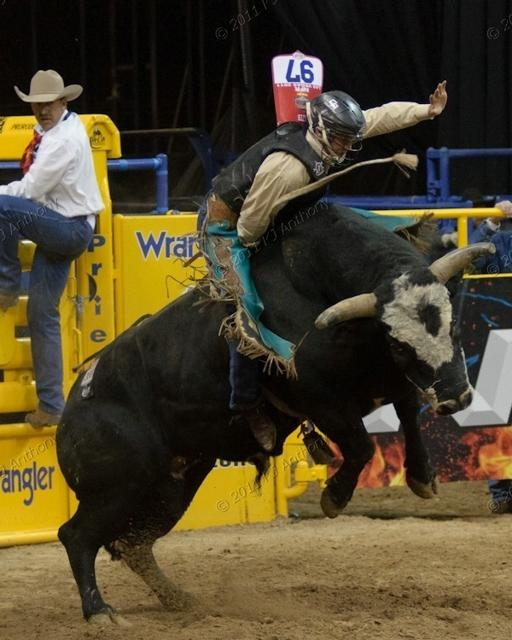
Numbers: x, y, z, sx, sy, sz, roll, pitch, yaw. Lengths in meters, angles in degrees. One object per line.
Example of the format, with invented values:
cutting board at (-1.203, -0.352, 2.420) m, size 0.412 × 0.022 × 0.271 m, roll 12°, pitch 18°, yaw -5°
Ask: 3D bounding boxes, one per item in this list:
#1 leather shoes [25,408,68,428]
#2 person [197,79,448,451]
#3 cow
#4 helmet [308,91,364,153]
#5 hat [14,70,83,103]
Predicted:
leather shoes at (-1.214, 0.555, 5.230) m, size 0.342 × 0.098 × 0.153 m, roll 2°, pitch -5°, yaw 44°
person at (0.203, -0.177, 3.913) m, size 0.898 × 1.573 × 0.635 m, roll 1°, pitch 6°, yaw -4°
cow at (0.123, 0.463, 3.966) m, size 2.563 × 1.564 × 0.920 m, roll -18°, pitch -24°, yaw 38°
helmet at (0.326, -0.812, 3.794) m, size 0.243 × 0.275 × 0.217 m, roll 2°, pitch 5°, yaw 2°
hat at (-1.120, -1.310, 5.150) m, size 0.339 × 0.114 × 0.317 m, roll -6°, pitch -8°, yaw 3°
